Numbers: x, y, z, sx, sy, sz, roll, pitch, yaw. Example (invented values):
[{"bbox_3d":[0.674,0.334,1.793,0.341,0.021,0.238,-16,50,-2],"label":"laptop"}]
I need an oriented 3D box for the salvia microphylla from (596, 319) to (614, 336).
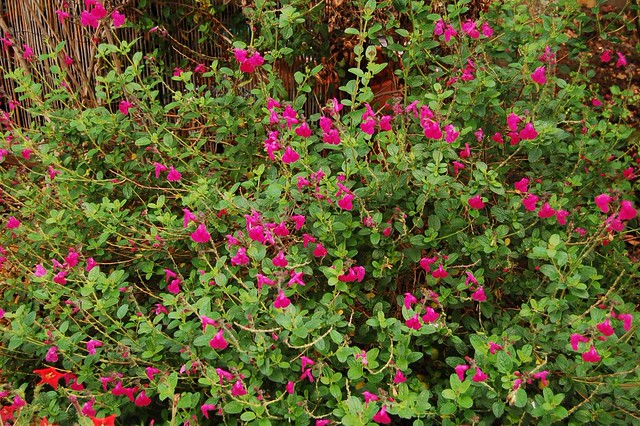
[{"bbox_3d":[1.311,0.518,2.414,0.072,0.037,0.082,-3,90,17],"label":"salvia microphylla"}]

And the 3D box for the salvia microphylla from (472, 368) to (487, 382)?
[{"bbox_3d":[0.749,0.762,2.439,0.063,0.070,0.034,2,42,8],"label":"salvia microphylla"}]

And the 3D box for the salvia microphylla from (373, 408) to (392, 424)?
[{"bbox_3d":[0.285,0.925,2.402,0.074,0.126,0.062,10,60,15],"label":"salvia microphylla"}]

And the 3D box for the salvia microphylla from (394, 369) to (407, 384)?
[{"bbox_3d":[0.390,0.811,2.568,0.057,0.096,0.050,33,68,26],"label":"salvia microphylla"}]
